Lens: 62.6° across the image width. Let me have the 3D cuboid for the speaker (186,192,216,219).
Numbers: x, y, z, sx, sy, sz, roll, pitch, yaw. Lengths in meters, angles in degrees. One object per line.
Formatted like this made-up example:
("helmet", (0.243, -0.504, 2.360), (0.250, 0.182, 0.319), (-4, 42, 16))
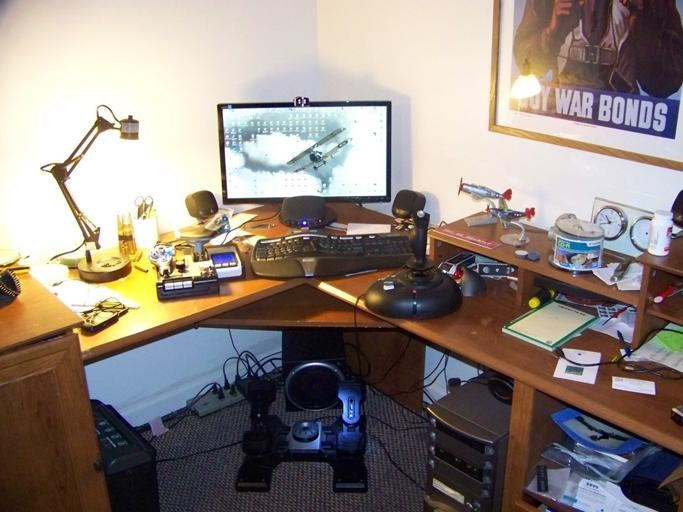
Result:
("speaker", (-0.601, -0.220, 2.412), (0.086, 0.112, 0.061), (-25, -11, -26))

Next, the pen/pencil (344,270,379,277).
("pen/pencil", (0.072, 0.069, 2.053), (0.127, 0.022, 0.013), (-12, -8, -13))

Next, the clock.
("clock", (0.922, -0.090, 1.823), (0.018, 0.128, 0.178), (-8, 19, -30))

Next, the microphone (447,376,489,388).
("microphone", (0.457, 0.467, 2.055), (0.123, 0.045, 0.069), (-5, 17, 29))

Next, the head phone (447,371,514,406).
("head phone", (0.520, 0.463, 1.953), (0.128, 0.030, 0.116), (-17, 24, -33))

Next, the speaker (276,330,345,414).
("speaker", (-0.116, 0.462, 2.503), (0.318, 0.338, 0.332), (-2, 44, -3))

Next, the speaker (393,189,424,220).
("speaker", (0.283, -0.216, 2.361), (0.071, 0.126, 0.137), (30, -5, -43))

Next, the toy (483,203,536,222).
("toy", (0.610, -0.154, 2.018), (0.098, 0.034, 0.110), (6, 30, 7))

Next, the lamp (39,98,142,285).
("lamp", (-0.983, -0.258, 2.175), (0.470, 0.824, 0.289), (2, 37, -18))

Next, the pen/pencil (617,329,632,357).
("pen/pencil", (0.855, 0.270, 1.700), (0.023, 0.010, 0.078), (6, 27, 3))
